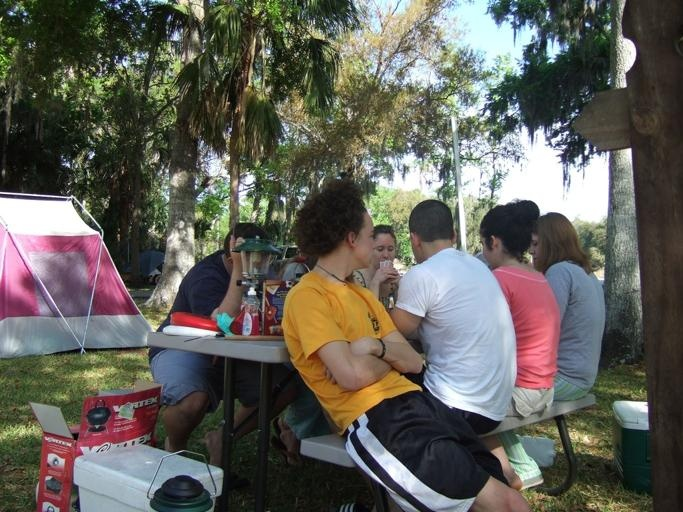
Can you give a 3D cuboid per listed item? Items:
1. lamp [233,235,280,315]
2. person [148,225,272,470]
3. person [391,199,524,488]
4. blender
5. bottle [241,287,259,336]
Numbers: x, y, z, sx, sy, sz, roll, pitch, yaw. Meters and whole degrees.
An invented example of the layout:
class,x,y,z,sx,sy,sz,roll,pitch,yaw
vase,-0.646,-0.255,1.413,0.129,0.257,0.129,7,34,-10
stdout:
class,x,y,z,sx,sy,sz,roll,pitch,yaw
lamp,-0.589,0.114,3.825,0.310,0.565,0.245,3,-4,-34
person,-0.961,0.726,4.486,0.849,2.043,1.178,10,2,44
person,0.949,0.454,3.635,0.861,1.926,1.460,-2,-3,30
blender,-0.571,0.162,3.769,0.267,0.695,0.272,1,6,-28
bottle,-0.592,0.344,3.636,0.116,0.320,0.211,-1,-2,-5
